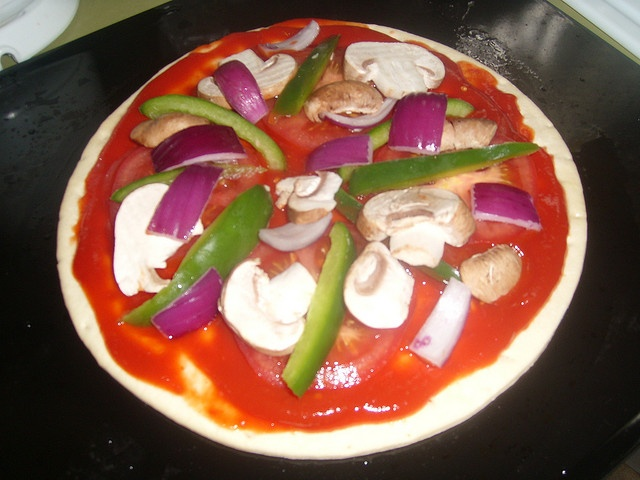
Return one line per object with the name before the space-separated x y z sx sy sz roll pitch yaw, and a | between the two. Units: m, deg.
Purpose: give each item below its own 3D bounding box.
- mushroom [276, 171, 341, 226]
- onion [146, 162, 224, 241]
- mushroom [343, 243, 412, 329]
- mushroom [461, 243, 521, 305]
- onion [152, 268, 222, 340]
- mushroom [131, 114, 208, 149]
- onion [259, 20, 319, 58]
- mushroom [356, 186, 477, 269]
mushroom | -0.038 -0.172 2.575 0.210 0.068 0.235 -9 62 16
onion | -0.556 -0.145 2.472 0.176 0.069 0.373 16 79 -4
mushroom | 0.229 0.179 2.479 0.341 0.078 0.322 -7 79 -28
mushroom | 0.711 0.122 2.532 0.276 0.080 0.219 -30 49 -19
onion | -0.500 0.274 2.455 0.319 0.076 0.144 -38 85 -5
mushroom | -0.672 -0.462 2.748 0.258 0.086 0.164 -14 46 17
onion | -0.140 -0.985 2.962 0.234 0.077 0.167 -42 37 6
mushroom | 0.382 -0.058 2.480 0.343 0.133 0.367 -39 91 6
